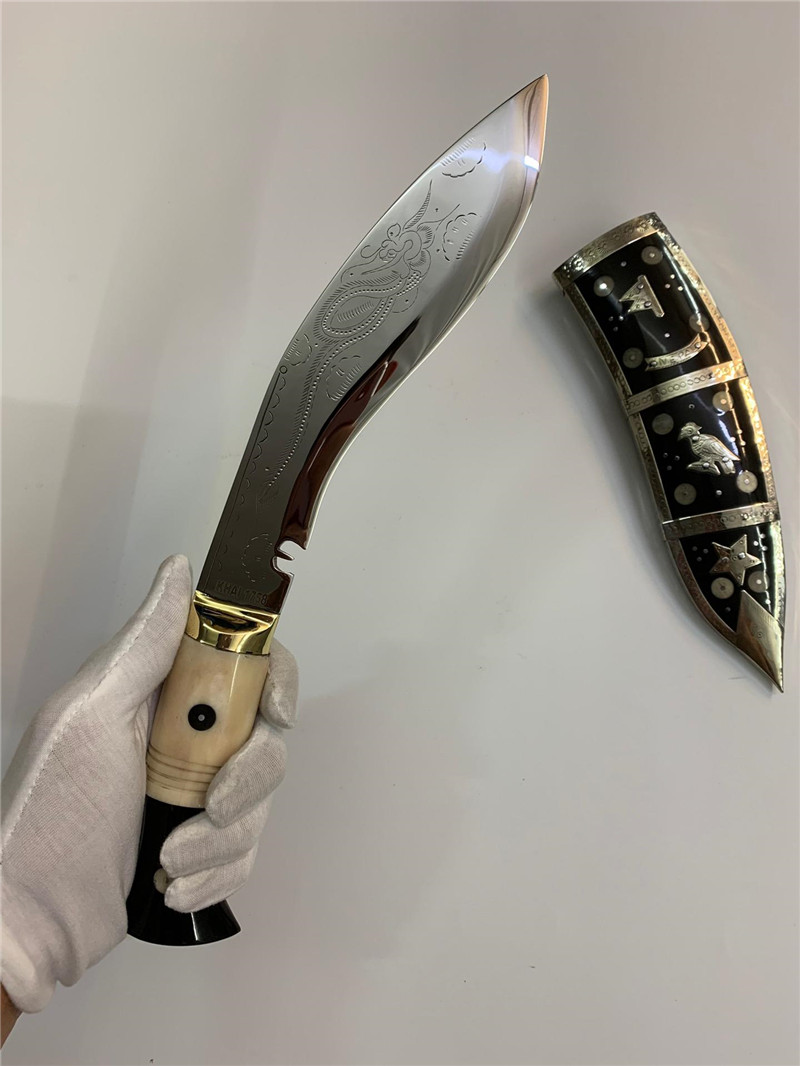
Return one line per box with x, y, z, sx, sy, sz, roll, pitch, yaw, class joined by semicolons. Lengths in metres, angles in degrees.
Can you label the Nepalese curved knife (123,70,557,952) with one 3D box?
-0.075;-0.088;1.215;0.273;1.161;0.261;19;2;16;Nepalese curved knife
